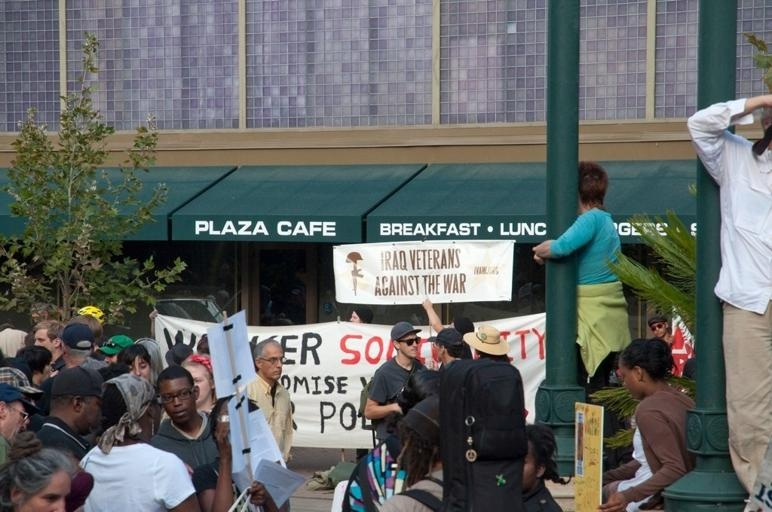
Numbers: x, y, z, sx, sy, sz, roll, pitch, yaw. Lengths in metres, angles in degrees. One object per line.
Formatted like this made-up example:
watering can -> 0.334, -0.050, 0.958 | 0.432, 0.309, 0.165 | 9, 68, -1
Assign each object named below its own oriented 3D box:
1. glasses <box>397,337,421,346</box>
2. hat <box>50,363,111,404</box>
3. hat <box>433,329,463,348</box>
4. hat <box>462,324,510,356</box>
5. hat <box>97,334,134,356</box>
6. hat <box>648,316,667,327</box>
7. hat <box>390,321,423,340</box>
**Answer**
glasses -> 0.371, 1.171, 22.579 | 0.378, 0.099, 0.168 | -2, -3, -44
hat -> -3.646, 1.511, 19.590 | 0.532, 0.266, 0.371 | -1, 5, -12
hat -> 0.876, 1.109, 22.131 | 0.307, 0.158, 0.216 | 4, 1, 26
hat -> 1.376, 1.171, 22.449 | 0.571, 0.354, 0.440 | -4, -2, 3
hat -> -3.662, 1.277, 22.555 | 0.462, 0.188, 0.318 | -11, 12, -12
hat -> 4.166, 0.994, 25.097 | 0.288, 0.150, 0.330 | -4, -2, 4
hat -> 0.265, 1.039, 22.599 | 0.310, 0.217, 0.291 | -4, -2, 9
